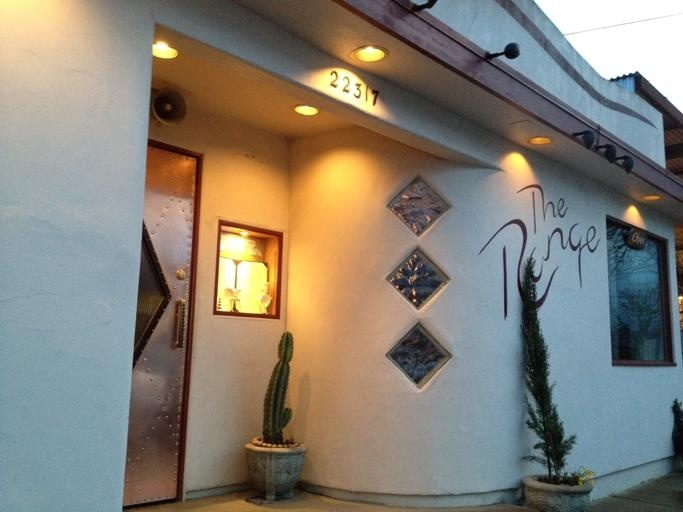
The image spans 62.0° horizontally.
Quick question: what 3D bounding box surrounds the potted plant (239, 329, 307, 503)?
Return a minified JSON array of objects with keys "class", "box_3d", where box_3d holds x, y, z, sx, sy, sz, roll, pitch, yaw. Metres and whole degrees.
[{"class":"potted plant","box_3d":[-0.627,1.541,5.612,0.571,1.569,0.529,3,-8,-2]}]
